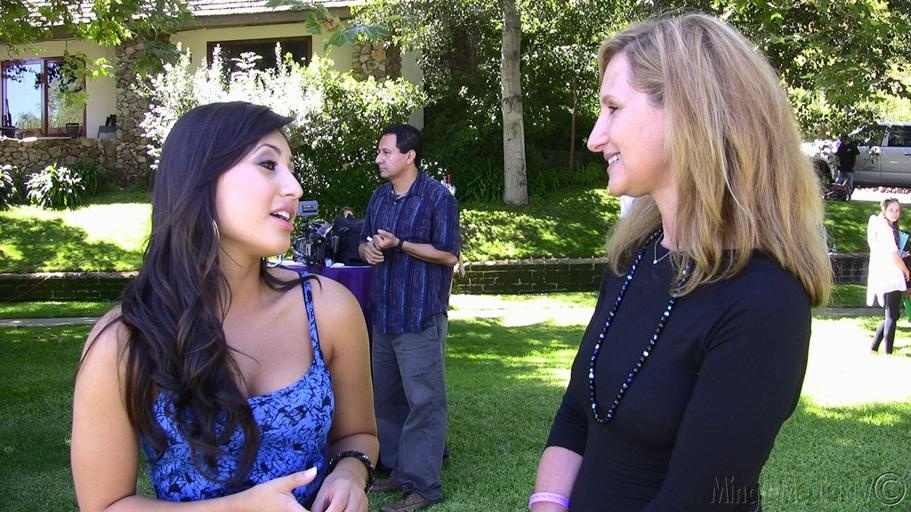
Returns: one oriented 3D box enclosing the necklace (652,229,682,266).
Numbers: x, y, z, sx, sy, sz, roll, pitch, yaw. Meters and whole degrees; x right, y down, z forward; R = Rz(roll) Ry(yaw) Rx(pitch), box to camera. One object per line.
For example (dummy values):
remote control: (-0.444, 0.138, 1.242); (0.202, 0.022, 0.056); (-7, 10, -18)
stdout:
necklace: (0.956, -0.034, 3.060); (0.118, 0.157, 0.048); (0, -5, 14)

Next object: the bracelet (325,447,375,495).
bracelet: (-0.493, 0.990, 3.205); (0.217, 0.186, 0.092); (36, -15, 1)

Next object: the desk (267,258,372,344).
desk: (-1.041, 0.293, 5.827); (0.779, 0.575, 0.787); (4, 7, 21)

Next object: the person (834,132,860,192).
person: (9.426, -2.170, 16.415); (0.476, 1.405, 0.858); (5, 6, 31)

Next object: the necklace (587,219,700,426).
necklace: (0.844, 0.289, 2.985); (0.309, 0.974, 0.041); (34, -18, -8)
